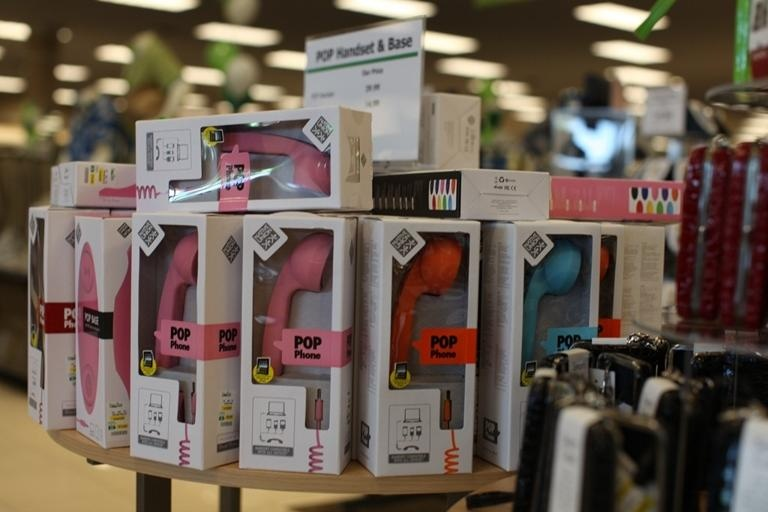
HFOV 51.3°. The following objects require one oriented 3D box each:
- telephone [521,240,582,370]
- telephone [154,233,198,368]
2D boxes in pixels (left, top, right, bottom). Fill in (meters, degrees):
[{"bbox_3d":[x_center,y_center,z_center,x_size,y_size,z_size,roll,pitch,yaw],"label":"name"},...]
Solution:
[{"bbox_3d":[0.465,0.119,2.198,0.183,0.326,0.041,-1,1,-28],"label":"telephone"},{"bbox_3d":[-0.552,0.067,2.174,0.139,0.270,0.063,0,1,26],"label":"telephone"}]
